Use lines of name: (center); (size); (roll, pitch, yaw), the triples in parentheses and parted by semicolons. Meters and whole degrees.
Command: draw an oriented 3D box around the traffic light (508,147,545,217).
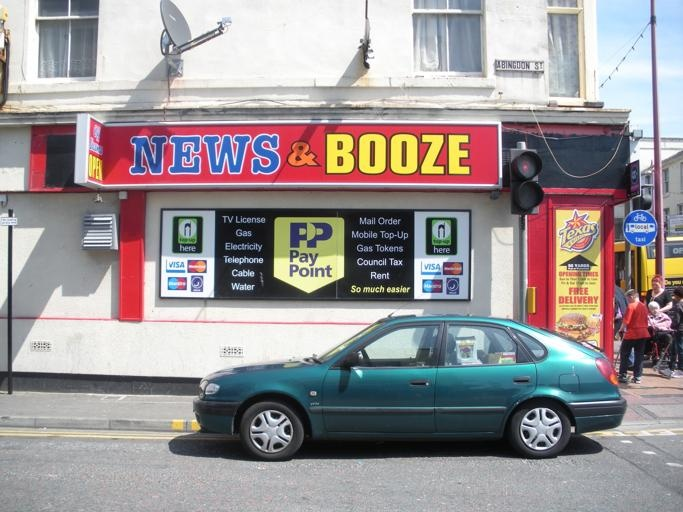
traffic light: (3.346, -1.332, 18.073); (0.591, 1.173, 0.467); (2, 14, 10)

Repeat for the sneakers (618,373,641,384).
sneakers: (5.723, 2.405, 19.802); (0.465, 0.206, 0.168); (-1, -7, 14)

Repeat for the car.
car: (1.034, 2.243, 16.724); (6.261, 1.950, 2.699); (2, -9, 1)

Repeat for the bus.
bus: (9.442, 0.376, 30.646); (1.588, 1.741, 3.854); (1, -4, -2)
